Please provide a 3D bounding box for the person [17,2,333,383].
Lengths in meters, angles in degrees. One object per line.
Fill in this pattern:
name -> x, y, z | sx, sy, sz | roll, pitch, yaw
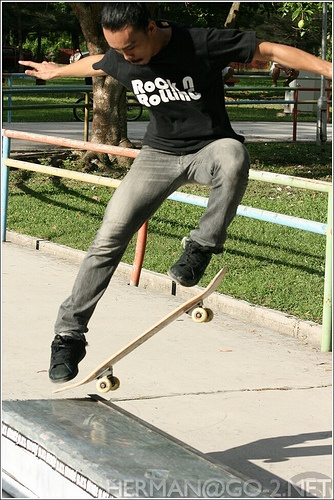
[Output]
person -> 0.018, -0.231, 2.572 | 1.170, 1.824, 0.501 | 3, 13, -2

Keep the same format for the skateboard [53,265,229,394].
skateboard -> -0.155, 0.587, 3.466 | 1.047, 0.180, 0.262 | -38, -8, 1

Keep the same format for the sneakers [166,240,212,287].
sneakers -> 0.113, 0.074, 2.440 | 0.124, 0.130, 0.335 | 34, 18, 0
